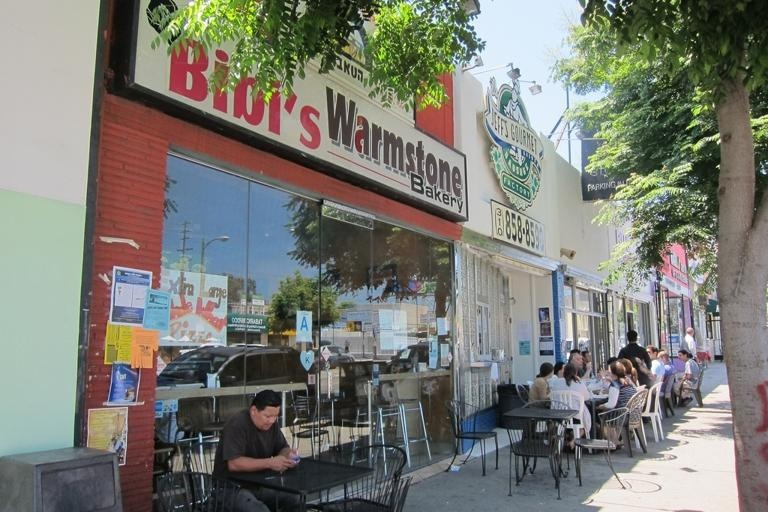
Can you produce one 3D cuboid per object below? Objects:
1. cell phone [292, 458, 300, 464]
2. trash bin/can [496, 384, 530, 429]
[{"bbox_3d":[-0.981,2.243,6.443,0.060,0.051,0.066,-39,-16,17],"label":"cell phone"},{"bbox_3d":[2.952,3.441,13.950,0.578,0.676,0.586,1,-1,14],"label":"trash bin/can"}]
